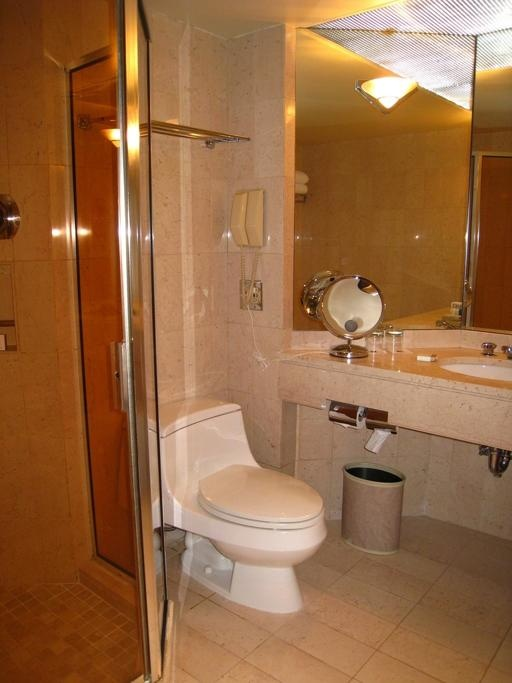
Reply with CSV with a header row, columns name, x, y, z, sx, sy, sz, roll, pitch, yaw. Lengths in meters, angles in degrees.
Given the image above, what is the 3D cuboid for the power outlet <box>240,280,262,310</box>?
name,x,y,z,sx,sy,sz,roll,pitch,yaw
power outlet,-0.020,-0.199,2.309,0.109,0.142,0.014,4,9,42

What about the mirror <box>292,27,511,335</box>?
name,x,y,z,sx,sy,sz,roll,pitch,yaw
mirror,0.581,-0.687,2.187,0.947,1.102,0.020,5,12,16

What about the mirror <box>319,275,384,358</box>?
name,x,y,z,sx,sy,sz,roll,pitch,yaw
mirror,0.353,-0.095,2.119,0.203,0.330,0.207,-2,12,-5

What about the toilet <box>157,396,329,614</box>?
name,x,y,z,sx,sy,sz,roll,pitch,yaw
toilet,-0.045,0.568,1.977,0.679,0.692,0.475,5,8,38

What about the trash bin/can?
name,x,y,z,sx,sy,sz,roll,pitch,yaw
trash bin/can,0.494,0.698,2.294,0.243,0.301,0.243,-3,7,-34
